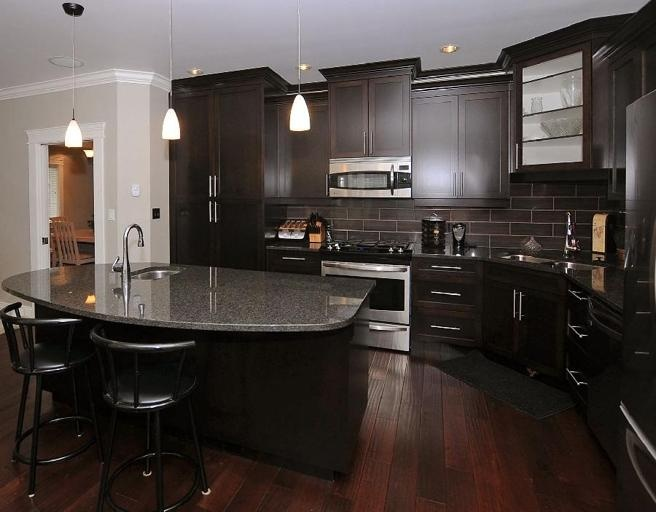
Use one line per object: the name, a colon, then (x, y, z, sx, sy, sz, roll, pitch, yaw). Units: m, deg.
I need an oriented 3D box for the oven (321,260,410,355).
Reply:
oven: (0.429, 0.368, 4.979, 0.866, 0.911, 0.628, 4, 21, 21)

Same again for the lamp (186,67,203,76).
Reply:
lamp: (-1.285, -1.763, 4.877, 0.144, 0.057, 0.292, -3, 14, -15)

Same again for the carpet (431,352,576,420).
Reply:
carpet: (1.409, 1.006, 4.076, 0.536, 0.064, 1.055, -8, 16, -33)

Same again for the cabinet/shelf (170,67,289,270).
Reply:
cabinet/shelf: (-1.095, -0.869, 5.156, 1.147, 1.907, 0.349, 5, 13, 21)

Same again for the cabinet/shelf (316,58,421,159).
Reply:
cabinet/shelf: (0.406, -1.291, 4.986, 0.921, 0.977, 0.461, -1, -11, 9)

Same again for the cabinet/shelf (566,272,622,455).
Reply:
cabinet/shelf: (1.776, 0.685, 3.397, 0.215, 0.961, 0.832, 3, 13, 13)

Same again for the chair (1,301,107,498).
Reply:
chair: (-1.810, 0.784, 3.306, 0.520, 1.061, 0.894, -6, 14, -26)

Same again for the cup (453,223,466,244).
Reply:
cup: (1.256, -0.211, 4.881, 0.117, 0.204, 0.090, 2, 12, 10)

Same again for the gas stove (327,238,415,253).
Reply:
gas stove: (0.390, -0.088, 4.913, 0.839, 0.048, 0.461, 3, 13, 10)

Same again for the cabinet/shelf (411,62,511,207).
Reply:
cabinet/shelf: (1.273, -1.177, 4.723, 1.182, 1.620, 0.593, 0, 0, 15)

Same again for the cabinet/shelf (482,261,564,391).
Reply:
cabinet/shelf: (1.591, 0.641, 4.375, 0.718, 0.663, 1.010, 9, 57, 16)

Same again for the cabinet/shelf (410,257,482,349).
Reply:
cabinet/shelf: (1.149, 0.301, 4.821, 0.651, 0.993, 0.589, 2, 27, 18)

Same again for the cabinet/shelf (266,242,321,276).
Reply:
cabinet/shelf: (-0.346, 0.039, 4.962, 0.597, 0.246, 0.095, 6, 14, 24)

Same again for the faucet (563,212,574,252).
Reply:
faucet: (2.183, -0.226, 4.551, 0.087, 0.331, 0.374, 5, 14, 22)

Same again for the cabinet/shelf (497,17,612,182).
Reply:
cabinet/shelf: (1.790, -1.174, 4.153, 0.856, 1.148, 0.326, -8, 19, 13)
